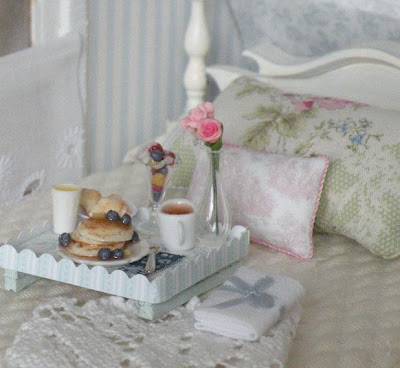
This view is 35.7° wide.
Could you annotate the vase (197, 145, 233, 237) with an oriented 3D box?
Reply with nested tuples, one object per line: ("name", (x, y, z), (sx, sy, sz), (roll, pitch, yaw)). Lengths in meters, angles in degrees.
("vase", (0.038, 0.028, 1.598), (0.101, 0.238, 0.103), (1, -7, 18))

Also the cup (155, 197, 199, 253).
("cup", (-0.054, 0.116, 1.496), (0.103, 0.103, 0.149), (0, 22, -3))

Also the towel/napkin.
("towel/napkin", (0.114, 0.261, 1.381), (0.168, 0.056, 0.212), (14, 28, 33))
